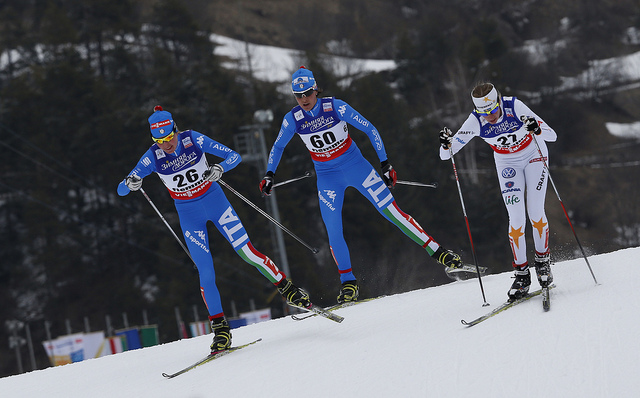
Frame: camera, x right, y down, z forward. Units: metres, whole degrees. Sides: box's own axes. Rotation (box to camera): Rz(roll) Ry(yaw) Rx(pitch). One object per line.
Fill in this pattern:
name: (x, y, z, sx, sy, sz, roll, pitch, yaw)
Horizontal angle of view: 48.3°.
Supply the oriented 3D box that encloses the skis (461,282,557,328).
skis: (4.577, 2.587, 17.157, 1.570, 0.131, 0.167, -35, 16, -8)
